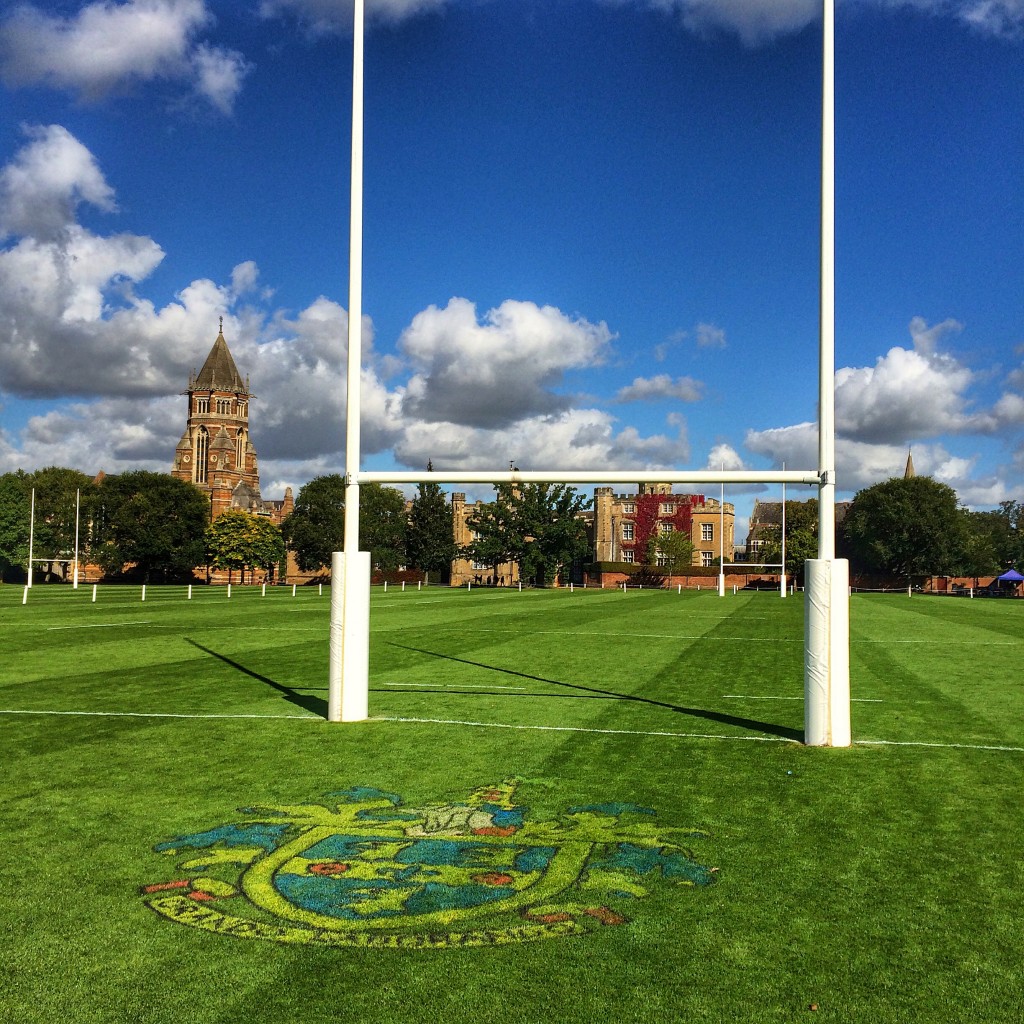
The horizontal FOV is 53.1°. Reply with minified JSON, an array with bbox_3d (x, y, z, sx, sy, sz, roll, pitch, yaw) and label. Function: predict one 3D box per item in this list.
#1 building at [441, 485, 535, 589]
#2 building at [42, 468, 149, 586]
[{"bbox_3d":[-2.008,2.385,86.435,1.904,9.796,9.447,-3,-4,30],"label":"building"},{"bbox_3d":[-31.259,1.171,78.047,8.050,9.229,7.342,3,6,18],"label":"building"}]
